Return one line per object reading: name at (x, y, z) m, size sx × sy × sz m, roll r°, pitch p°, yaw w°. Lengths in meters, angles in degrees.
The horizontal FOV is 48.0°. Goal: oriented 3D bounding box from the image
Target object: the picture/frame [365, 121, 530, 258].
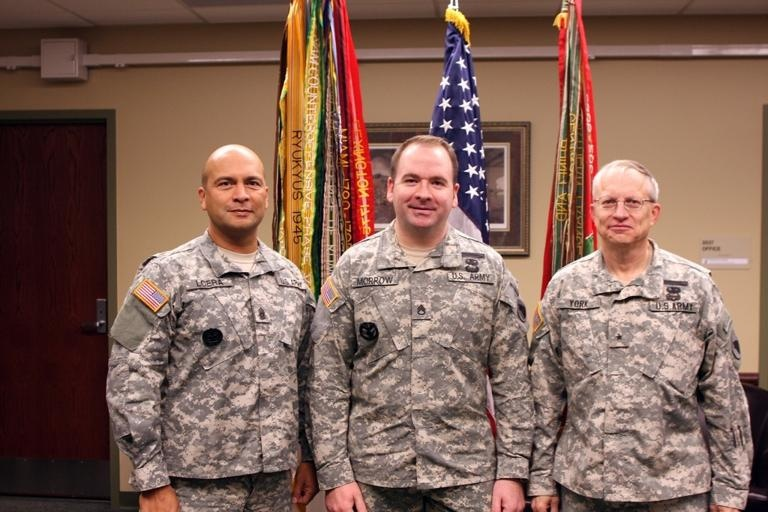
picture/frame at (0.450, -0.397, 5.248) m, size 1.003 × 0.832 × 0.043 m, roll -1°, pitch 2°, yaw 2°
